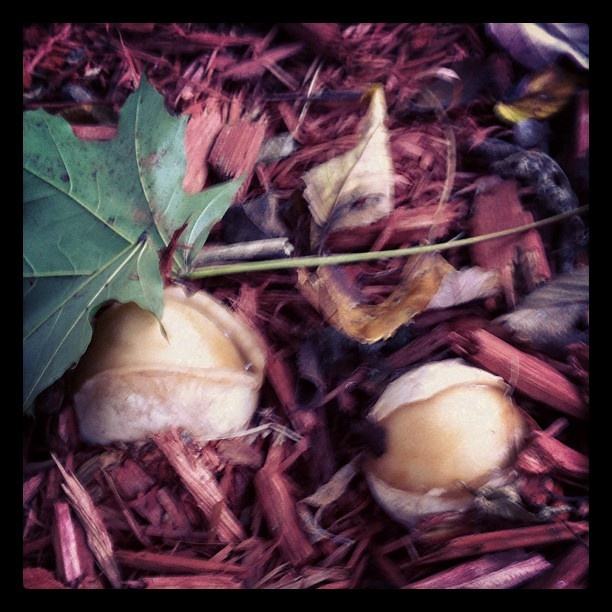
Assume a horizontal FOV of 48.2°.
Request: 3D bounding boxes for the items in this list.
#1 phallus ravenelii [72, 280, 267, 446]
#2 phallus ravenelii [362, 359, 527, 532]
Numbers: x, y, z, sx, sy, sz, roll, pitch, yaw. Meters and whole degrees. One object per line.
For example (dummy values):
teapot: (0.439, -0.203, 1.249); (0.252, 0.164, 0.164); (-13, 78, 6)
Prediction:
phallus ravenelii: (-0.167, 0.072, 0.824); (0.241, 0.170, 0.110); (-8, 29, -3)
phallus ravenelii: (0.130, 0.166, 0.904); (0.202, 0.186, 0.120); (-49, 11, 2)
